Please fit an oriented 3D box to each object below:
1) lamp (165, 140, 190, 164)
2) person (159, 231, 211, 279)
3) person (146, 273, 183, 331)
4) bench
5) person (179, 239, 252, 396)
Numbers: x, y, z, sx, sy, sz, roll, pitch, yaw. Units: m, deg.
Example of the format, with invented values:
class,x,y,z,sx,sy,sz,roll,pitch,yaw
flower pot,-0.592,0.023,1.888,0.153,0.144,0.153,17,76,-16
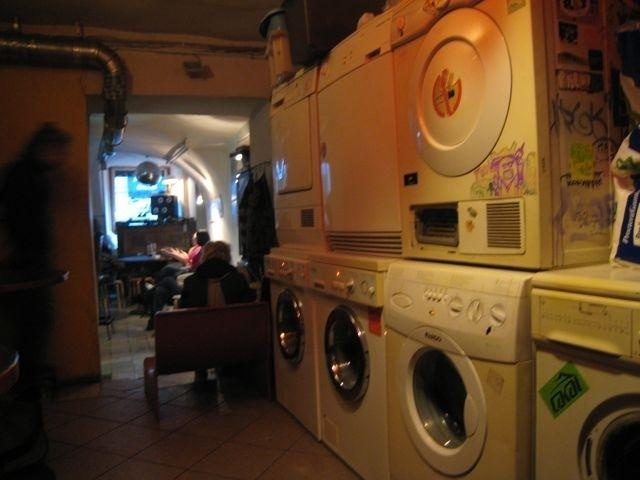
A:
class,x,y,z,sx,sy,sz,roll,pitch,yaw
lamp,-2.481,-1.522,8.401,0.285,0.167,0.875,12,-19,-27
person,-1.945,0.300,6.806,0.494,0.933,0.434,18,4,-10
person,-2.026,0.653,6.139,0.239,0.961,0.392,11,29,-14
bench,-0.842,0.826,3.690,0.827,0.769,0.662,-2,4,-18
person,-0.860,0.551,3.978,0.517,1.192,0.461,4,11,-9
